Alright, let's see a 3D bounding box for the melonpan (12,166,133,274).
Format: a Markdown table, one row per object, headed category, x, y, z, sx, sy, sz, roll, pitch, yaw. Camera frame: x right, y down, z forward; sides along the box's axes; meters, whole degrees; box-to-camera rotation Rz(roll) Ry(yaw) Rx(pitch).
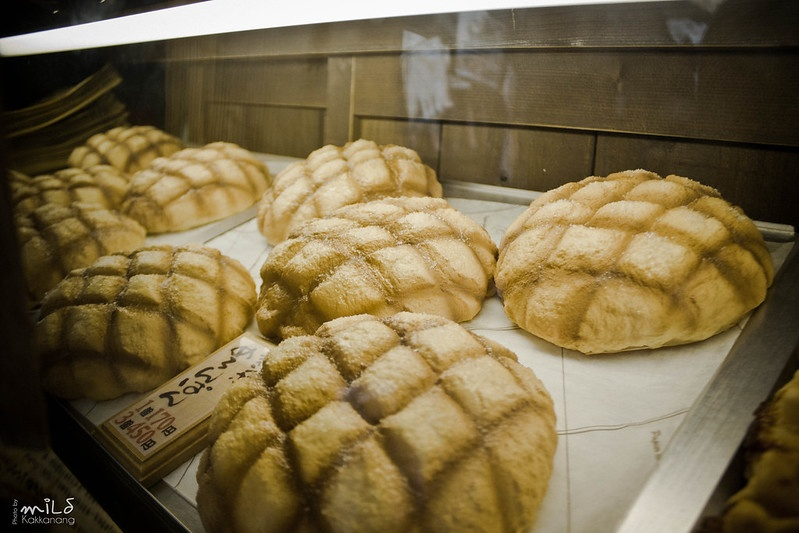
| category | x | y | z | sx | sy | sz | roll | pitch | yaw |
| --- | --- | --- | --- | --- | --- | --- | --- | --- | --- |
| melonpan | -0.809 | -0.122 | 1.387 | 0.070 | 0.198 | 0.261 | -21 | 15 | 29 |
